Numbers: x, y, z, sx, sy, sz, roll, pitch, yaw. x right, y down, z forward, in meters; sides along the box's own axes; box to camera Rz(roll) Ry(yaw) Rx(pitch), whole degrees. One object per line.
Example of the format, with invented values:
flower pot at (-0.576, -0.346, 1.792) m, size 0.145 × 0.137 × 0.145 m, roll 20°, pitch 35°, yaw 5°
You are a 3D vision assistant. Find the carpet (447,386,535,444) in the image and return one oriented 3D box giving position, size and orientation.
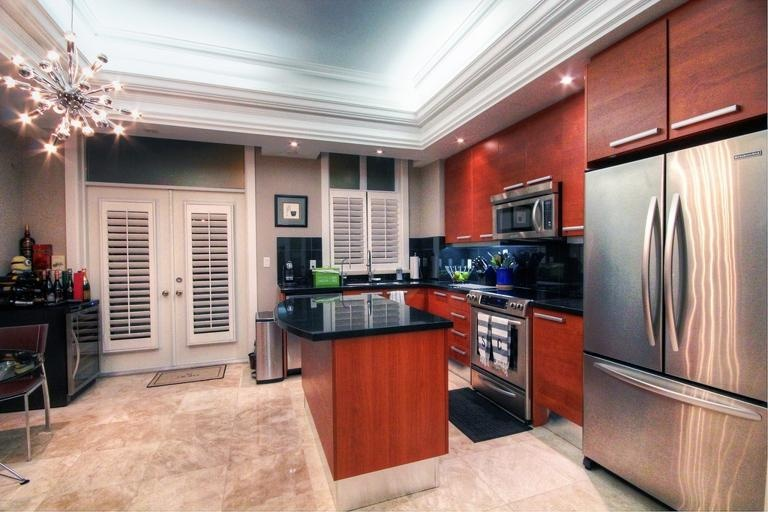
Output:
carpet at (0.915, 1.530, 4.717) m, size 0.653 × 0.337 × 0.834 m, roll -2°, pitch 0°, yaw -20°

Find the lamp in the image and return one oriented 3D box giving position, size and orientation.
lamp at (-2.951, -1.711, 4.543) m, size 0.737 × 1.180 × 0.724 m, roll -11°, pitch -27°, yaw -20°

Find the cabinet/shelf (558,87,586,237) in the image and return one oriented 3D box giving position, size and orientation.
cabinet/shelf at (1.743, -0.841, 4.469) m, size 0.086 × 0.954 × 0.236 m, roll -3°, pitch 1°, yaw -30°

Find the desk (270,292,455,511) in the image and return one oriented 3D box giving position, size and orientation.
desk at (-0.207, 1.016, 4.231) m, size 1.348 × 1.378 × 2.179 m, roll -2°, pitch 2°, yaw -23°

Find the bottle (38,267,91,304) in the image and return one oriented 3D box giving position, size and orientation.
bottle at (-3.443, 0.317, 5.236) m, size 0.472 × 0.410 × 0.473 m, roll -2°, pitch 0°, yaw -34°

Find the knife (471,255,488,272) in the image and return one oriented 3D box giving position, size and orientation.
knife at (1.185, 0.098, 5.981) m, size 0.044 × 0.166 × 0.178 m, roll -3°, pitch 5°, yaw -34°

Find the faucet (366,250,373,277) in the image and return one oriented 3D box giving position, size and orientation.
faucet at (-0.182, 0.111, 6.569) m, size 0.081 × 0.360 × 0.154 m, roll -2°, pitch 1°, yaw -1°

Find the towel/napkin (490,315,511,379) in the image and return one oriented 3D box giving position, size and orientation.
towel/napkin at (1.128, 0.870, 4.726) m, size 0.046 × 0.400 × 0.284 m, roll -3°, pitch 1°, yaw -24°

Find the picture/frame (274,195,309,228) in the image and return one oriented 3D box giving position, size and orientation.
picture/frame at (-1.204, -0.581, 6.214) m, size 0.458 × 0.435 × 0.045 m, roll 1°, pitch -3°, yaw -23°

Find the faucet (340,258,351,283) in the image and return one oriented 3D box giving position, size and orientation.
faucet at (-0.513, 0.183, 6.436) m, size 0.109 × 0.316 × 0.259 m, roll -2°, pitch 0°, yaw 4°

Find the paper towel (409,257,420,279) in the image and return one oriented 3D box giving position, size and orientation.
paper towel at (0.430, 0.152, 6.705) m, size 0.145 × 0.277 × 0.235 m, roll -2°, pitch 0°, yaw 2°

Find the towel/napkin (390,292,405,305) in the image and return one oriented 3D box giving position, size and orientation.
towel/napkin at (0.149, 0.467, 5.447) m, size 0.150 × 0.138 × 0.060 m, roll 1°, pitch 0°, yaw 10°

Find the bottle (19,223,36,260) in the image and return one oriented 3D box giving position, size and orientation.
bottle at (-3.838, -0.161, 5.207) m, size 0.173 × 0.442 × 0.105 m, roll -2°, pitch 1°, yaw 28°

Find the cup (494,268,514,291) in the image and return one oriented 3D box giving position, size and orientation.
cup at (1.327, 0.241, 5.336) m, size 0.220 × 0.224 × 0.216 m, roll 1°, pitch -5°, yaw 0°

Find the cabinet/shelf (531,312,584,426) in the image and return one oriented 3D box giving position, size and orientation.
cabinet/shelf at (1.529, 1.015, 4.277) m, size 0.152 × 0.806 × 0.503 m, roll -3°, pitch 1°, yaw -23°

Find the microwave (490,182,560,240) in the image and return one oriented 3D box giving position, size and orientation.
microwave at (1.501, -0.415, 4.989) m, size 0.441 × 0.510 × 0.819 m, roll 0°, pitch -1°, yaw -31°

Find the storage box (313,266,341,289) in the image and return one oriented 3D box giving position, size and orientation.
storage box at (-0.682, 0.265, 5.850) m, size 0.267 × 0.165 × 0.260 m, roll 0°, pitch -1°, yaw -7°

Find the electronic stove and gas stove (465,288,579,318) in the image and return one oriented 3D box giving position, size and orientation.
electronic stove and gas stove at (1.479, 0.418, 4.733) m, size 0.656 × 0.181 × 1.467 m, roll -2°, pitch 0°, yaw -23°

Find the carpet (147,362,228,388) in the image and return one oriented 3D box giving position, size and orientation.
carpet at (-2.268, 1.379, 5.623) m, size 0.813 × 0.086 × 0.530 m, roll -2°, pitch 0°, yaw -16°
